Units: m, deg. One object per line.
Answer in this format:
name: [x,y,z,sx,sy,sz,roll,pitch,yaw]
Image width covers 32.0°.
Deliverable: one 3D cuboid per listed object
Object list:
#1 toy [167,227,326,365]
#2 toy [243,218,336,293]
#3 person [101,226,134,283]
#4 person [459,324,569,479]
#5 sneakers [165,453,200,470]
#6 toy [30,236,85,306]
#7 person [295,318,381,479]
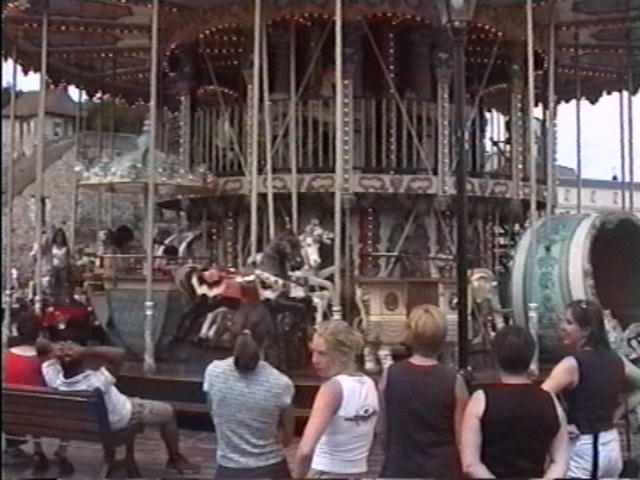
toy: [-0.850,0.957,13.372,0.852,1.701,1.572,11,22,-11]
toy: [-0.341,0.218,13.745,0.853,0.690,0.939,5,0,-11]
person: [-2.664,0.075,14.880,0.425,0.774,0.429,-2,28,-18]
person: [1.680,1.399,9.634,0.924,1.316,0.272,1,-2,11]
sneakers: [-1.439,2.309,11.683,0.363,0.267,0.148,-2,-7,-5]
toy: [-3.646,0.324,15.482,0.681,0.994,1.459,2,-2,-13]
person: [0.143,1.398,9.806,0.738,1.377,0.374,2,-2,-6]
